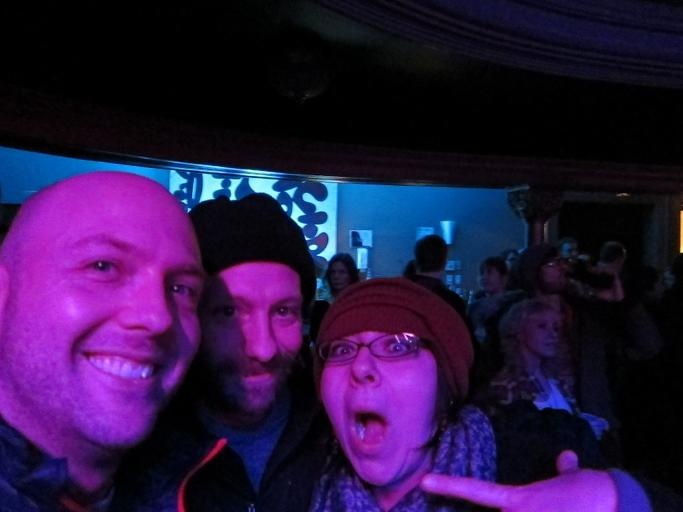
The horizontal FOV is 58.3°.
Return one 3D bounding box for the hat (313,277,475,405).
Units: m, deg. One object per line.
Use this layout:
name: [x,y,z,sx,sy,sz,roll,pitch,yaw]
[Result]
hat: [0.194,0.198,1.884,0.342,0.215,0.433,-3,-32,27]
